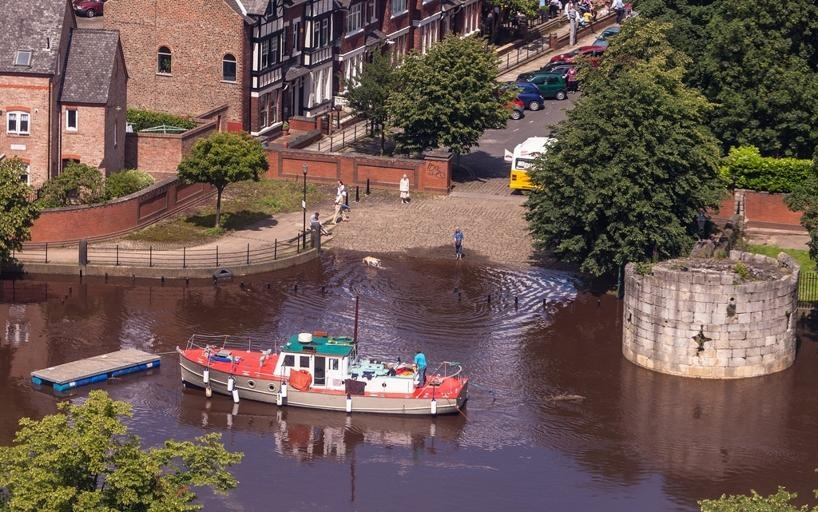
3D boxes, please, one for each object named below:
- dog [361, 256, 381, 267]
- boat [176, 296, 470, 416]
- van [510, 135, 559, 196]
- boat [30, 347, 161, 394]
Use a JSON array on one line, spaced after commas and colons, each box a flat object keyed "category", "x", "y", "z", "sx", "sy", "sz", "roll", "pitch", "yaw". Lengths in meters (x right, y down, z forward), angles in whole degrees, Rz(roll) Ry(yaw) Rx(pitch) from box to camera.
[{"category": "dog", "x": -2.412, "y": 0.254, "z": 109.103, "sx": 1.072, "sy": 0.623, "sz": 1.275, "roll": 0, "pitch": 2, "yaw": -15}, {"category": "boat", "x": -5.742, "y": 6.925, "z": 97.091, "sx": 20.578, "sy": 8.307, "sz": 6.353, "roll": 5, "pitch": 16, "yaw": 6}, {"category": "van", "x": 8.537, "y": -6.633, "z": 119.748, "sx": 3.395, "sy": 2.383, "sz": 4.550, "roll": 1, "pitch": 20, "yaw": 9}, {"category": "boat", "x": -17.914, "y": 6.490, "z": 95.050, "sx": 5.528, "sy": 0.707, "sz": 2.882, "roll": -13, "pitch": 20, "yaw": -39}]
